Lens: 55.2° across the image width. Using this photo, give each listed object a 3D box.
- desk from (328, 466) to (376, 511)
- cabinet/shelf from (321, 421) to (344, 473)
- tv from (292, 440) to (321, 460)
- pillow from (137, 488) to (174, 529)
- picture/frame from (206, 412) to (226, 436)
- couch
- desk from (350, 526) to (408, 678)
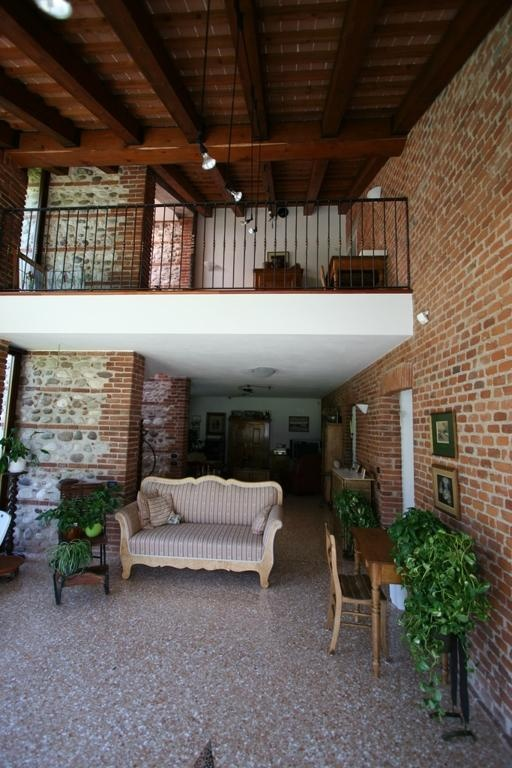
[{"bbox_3d":[1.186,1.271,6.118,0.407,0.365,1.270,1,-2,5],"label":"desk"},{"bbox_3d":[1.252,1.029,7.965,0.302,1.048,0.951,1,11,6],"label":"cabinet/shelf"},{"bbox_3d":[1.117,1.474,11.121,0.649,0.363,0.268,1,-2,5],"label":"tv"},{"bbox_3d":[-1.080,1.324,5.214,0.100,0.352,0.330,-28,-24,38],"label":"pillow"},{"bbox_3d":[-0.921,0.948,11.485,0.498,0.595,0.057,0,-6,1],"label":"picture/frame"},{"bbox_3d":[-0.545,1.502,5.152,1.622,0.898,1.089,1,-2,4],"label":"couch"},{"bbox_3d":[0.871,1.567,3.493,0.342,0.644,1.007,0,-3,7],"label":"desk"}]
